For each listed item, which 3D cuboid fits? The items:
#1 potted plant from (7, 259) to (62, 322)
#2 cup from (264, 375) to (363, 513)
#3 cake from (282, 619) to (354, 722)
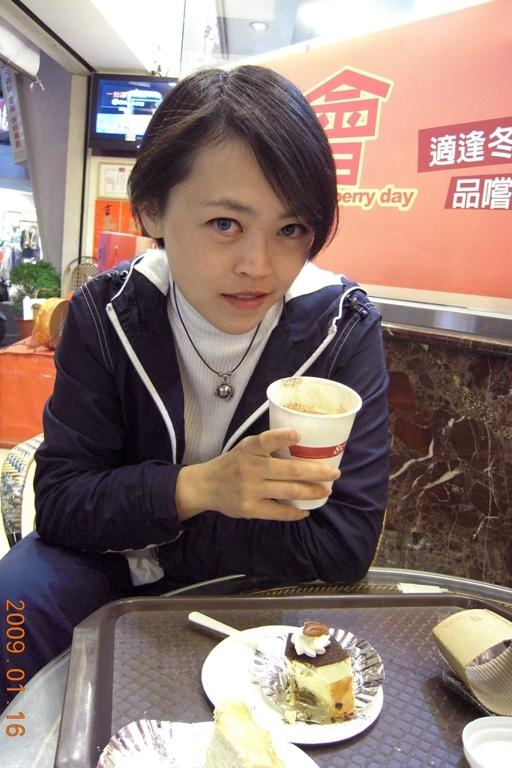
[{"bbox_3d":[-2.110,-0.879,5.466,0.516,0.638,0.553,0,0,-28],"label":"potted plant"},{"bbox_3d":[0.065,0.097,0.770,0.115,0.200,0.155,3,7,-13],"label":"cup"},{"bbox_3d":[0.068,0.331,0.649,0.052,0.064,0.090,0,-3,-7],"label":"cake"}]
